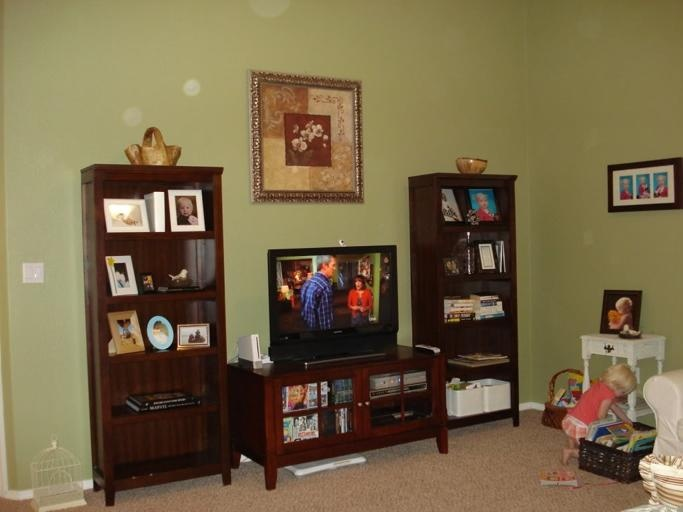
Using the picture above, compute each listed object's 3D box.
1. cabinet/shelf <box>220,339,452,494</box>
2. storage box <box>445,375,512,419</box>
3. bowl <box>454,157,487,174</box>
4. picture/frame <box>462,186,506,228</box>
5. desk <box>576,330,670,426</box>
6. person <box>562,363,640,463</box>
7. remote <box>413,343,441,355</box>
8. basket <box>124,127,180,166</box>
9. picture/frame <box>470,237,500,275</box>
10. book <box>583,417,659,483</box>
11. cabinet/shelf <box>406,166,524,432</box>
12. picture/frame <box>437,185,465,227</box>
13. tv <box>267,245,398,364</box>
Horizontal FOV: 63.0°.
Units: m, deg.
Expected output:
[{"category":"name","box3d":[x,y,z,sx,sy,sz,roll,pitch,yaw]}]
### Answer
[{"category":"cabinet/shelf","box3d":[0.037,1.147,4.145,1.448,0.769,0.550,-1,0,-27]},{"category":"storage box","box3d":[1.149,1.187,4.655,0.626,0.262,0.151,-2,4,-20]},{"category":"bowl","box3d":[1.077,-0.759,4.634,0.241,0.161,0.263,-1,3,0]},{"category":"picture/frame","box3d":[1.189,-0.407,4.725,0.333,0.401,0.030,4,-19,-21]},{"category":"desk","box3d":[2.231,0.972,4.423,0.481,0.692,0.549,-2,3,-13]},{"category":"person","box3d":[1.825,1.170,4.009,0.450,0.784,0.273,6,10,0]},{"category":"remote","box3d":[0.648,0.712,4.250,0.076,0.039,0.159,2,-1,-31]},{"category":"basket","box3d":[-1.280,-0.722,3.728,0.322,0.267,0.354,-4,4,-36]},{"category":"picture/frame","box3d":[1.243,0.023,4.855,0.237,0.280,0.255,-11,-15,25]},{"category":"book","box3d":[1.783,1.285,3.648,0.297,0.183,0.406,2,4,40]},{"category":"cabinet/shelf","box3d":[1.133,0.366,4.685,0.783,2.074,0.375,-2,3,12]},{"category":"picture/frame","box3d":[0.892,-0.404,4.603,0.312,0.380,0.039,7,-22,-36]},{"category":"tv","box3d":[-0.109,0.359,4.093,0.802,0.676,0.192,-1,-2,-23]}]
